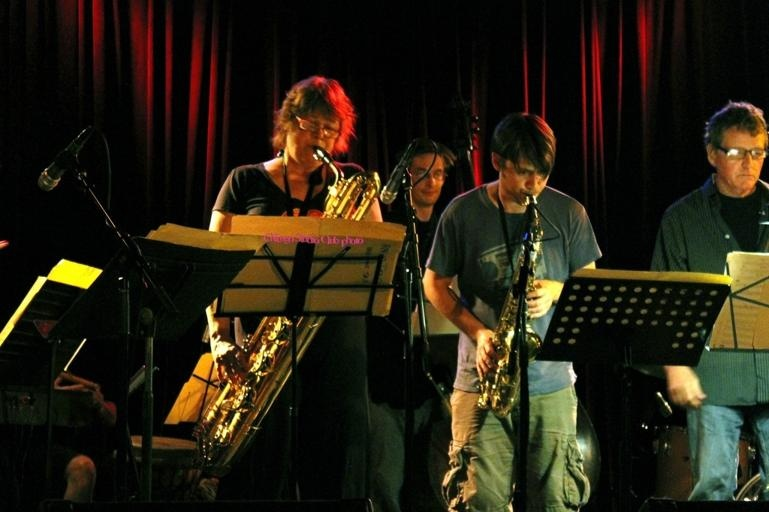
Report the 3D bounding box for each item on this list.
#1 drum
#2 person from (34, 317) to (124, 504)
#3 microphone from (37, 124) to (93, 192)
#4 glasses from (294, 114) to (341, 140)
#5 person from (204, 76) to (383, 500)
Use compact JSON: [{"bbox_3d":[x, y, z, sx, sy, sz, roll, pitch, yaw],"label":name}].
[{"bbox_3d":[-1.735,1.783,6.740,0.642,0.464,0.630,0,-11,0],"label":"drum"},{"bbox_3d":[-2.298,1.368,6.331,0.473,0.982,0.762,6,-8,-19],"label":"person"},{"bbox_3d":[-1.969,-0.606,5.152,0.265,0.397,0.296,9,-9,-33],"label":"microphone"},{"bbox_3d":[-0.458,-0.876,5.673,0.300,0.133,0.054,5,-8,-11],"label":"glasses"},{"bbox_3d":[-0.691,0.243,5.986,1.234,2.973,1.474,7,-9,-25],"label":"person"}]
